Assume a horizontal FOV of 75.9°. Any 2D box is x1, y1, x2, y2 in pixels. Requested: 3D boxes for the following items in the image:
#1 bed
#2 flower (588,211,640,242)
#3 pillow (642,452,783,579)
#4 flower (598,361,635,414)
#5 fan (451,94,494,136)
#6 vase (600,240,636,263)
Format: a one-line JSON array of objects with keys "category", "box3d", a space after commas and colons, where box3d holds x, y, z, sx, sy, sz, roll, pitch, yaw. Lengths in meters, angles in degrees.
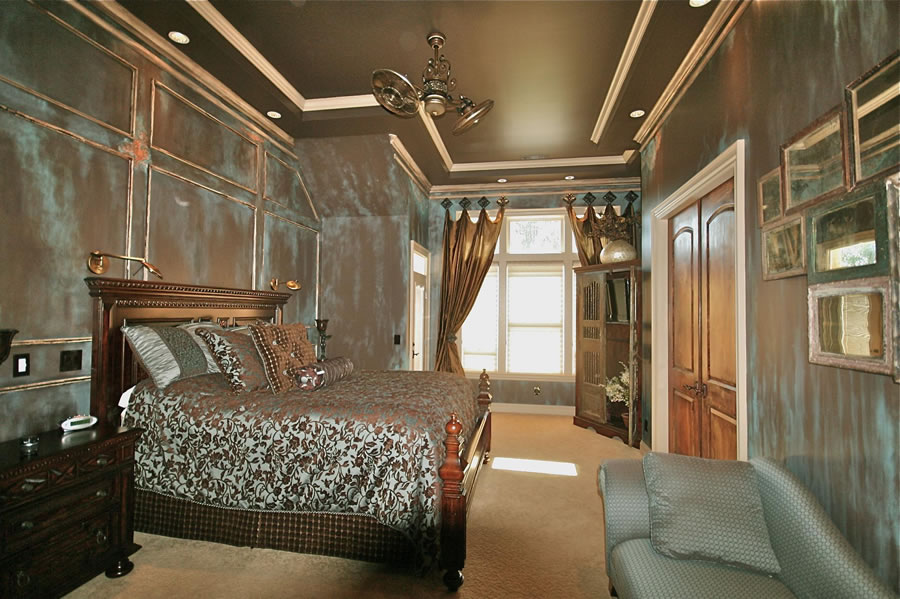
[{"category": "bed", "box3d": [-1.384, 1.094, 5.182, 2.549, 1.679, 2.585, 0, 1, 5]}, {"category": "flower", "box3d": [2.323, -1.021, 8.162, 0.504, 0.442, 0.095, 3, 11, 28]}, {"category": "pillow", "box3d": [1.669, 1.405, 3.765, 0.661, 0.632, 0.182, -4, -29, 3]}, {"category": "flower", "box3d": [2.127, 1.154, 7.431, 0.317, 0.273, 0.393, -8, 16, -1]}, {"category": "fan", "box3d": [0.183, -1.583, 4.938, 0.298, 0.347, 0.722, 1, 11, 0]}, {"category": "vase", "box3d": [2.158, -0.579, 7.472, 0.330, 0.313, 0.335, 1, 2, 44]}]
